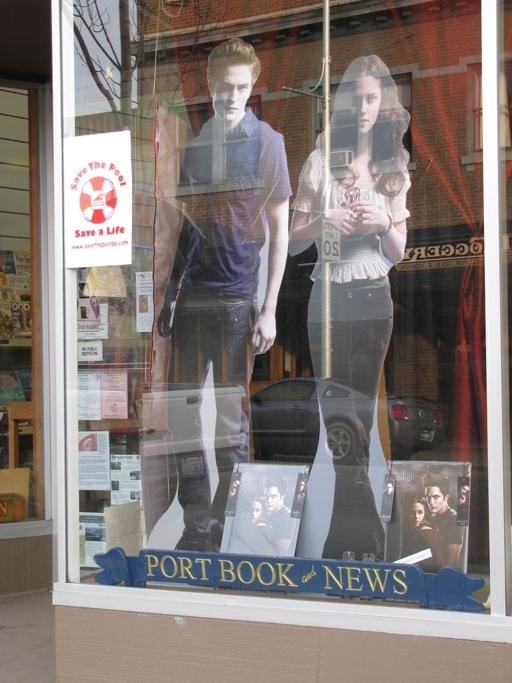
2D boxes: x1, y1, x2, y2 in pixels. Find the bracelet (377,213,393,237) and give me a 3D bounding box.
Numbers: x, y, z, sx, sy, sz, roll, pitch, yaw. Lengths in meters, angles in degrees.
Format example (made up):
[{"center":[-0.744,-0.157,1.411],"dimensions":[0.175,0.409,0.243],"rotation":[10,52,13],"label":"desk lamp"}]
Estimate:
[{"center":[0.486,-0.430,3.681],"dimensions":[0.017,0.072,0.047],"rotation":[0,4,-32],"label":"bracelet"}]
